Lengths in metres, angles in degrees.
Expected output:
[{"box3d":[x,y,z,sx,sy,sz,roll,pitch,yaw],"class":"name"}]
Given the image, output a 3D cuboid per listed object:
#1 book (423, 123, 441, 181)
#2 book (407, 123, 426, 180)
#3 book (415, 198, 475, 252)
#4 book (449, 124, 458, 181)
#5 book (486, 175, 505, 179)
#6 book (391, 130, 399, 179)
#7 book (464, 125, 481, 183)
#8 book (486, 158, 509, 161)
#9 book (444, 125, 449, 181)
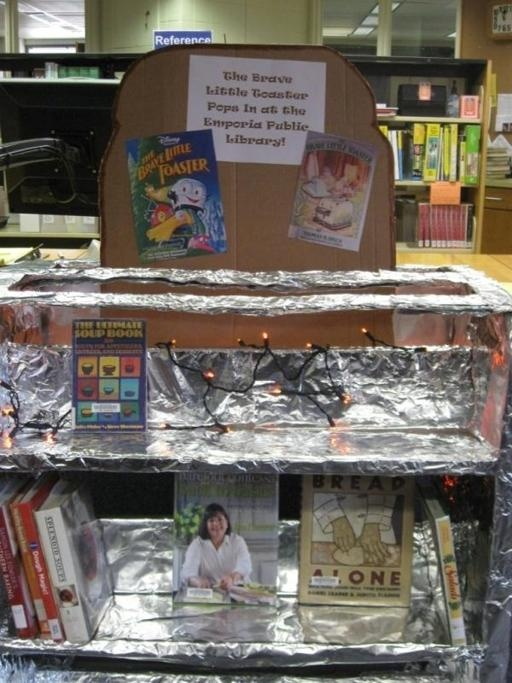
[{"box3d":[1.183,-1.298,4.003,0.110,0.331,0.320,2,13,8],"class":"book"},{"box3d":[1.096,-1.288,4.028,0.104,0.359,0.064,0,11,14],"class":"book"},{"box3d":[1.311,-0.814,4.221,0.423,0.367,0.306,1,10,5],"class":"book"},{"box3d":[1.336,-1.279,4.015,0.050,0.379,0.067,1,11,17],"class":"book"},{"box3d":[1.977,-1.362,4.889,0.068,0.016,0.068,2,7,3],"class":"book"},{"box3d":[0.951,-1.271,4.051,0.055,0.338,0.090,1,11,18],"class":"book"},{"box3d":[1.459,-1.266,4.011,0.108,0.378,0.070,0,11,11],"class":"book"},{"box3d":[1.973,-1.491,4.839,0.091,0.022,0.091,1,15,7],"class":"book"},{"box3d":[1.284,-1.257,4.015,0.044,0.306,0.027,-3,10,-5],"class":"book"}]
